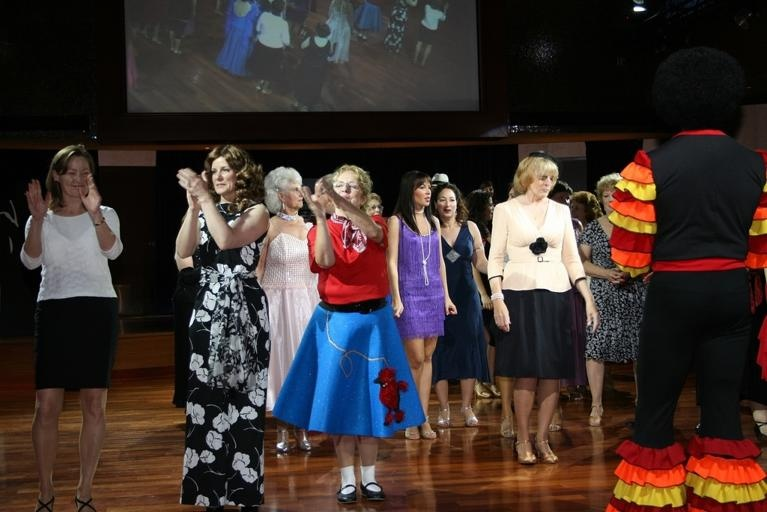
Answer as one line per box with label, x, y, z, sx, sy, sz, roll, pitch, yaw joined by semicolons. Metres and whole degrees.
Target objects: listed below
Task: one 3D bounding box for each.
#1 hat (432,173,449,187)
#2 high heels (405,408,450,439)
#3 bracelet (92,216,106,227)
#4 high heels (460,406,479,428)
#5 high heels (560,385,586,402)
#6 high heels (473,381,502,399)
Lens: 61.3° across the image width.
hat;0.559;-0.751;6.439;0.230;0.099;0.274;0;-9;9
high heels;0.355;1.467;5.579;0.162;0.232;0.540;6;-18;-32
bracelet;-1.751;-0.212;4.013;0.076;0.056;0.046;-3;4;-44
high heels;0.792;1.465;5.980;0.094;0.104;0.245;-1;-1;-9
high heels;1.985;1.471;6.866;0.096;0.144;0.314;4;-15;-27
high heels;1.107;1.442;7.041;0.182;0.169;0.363;7;-11;-34
